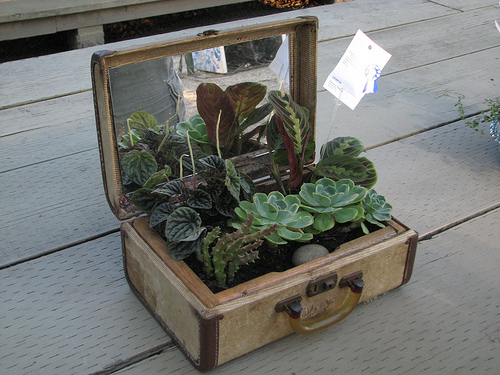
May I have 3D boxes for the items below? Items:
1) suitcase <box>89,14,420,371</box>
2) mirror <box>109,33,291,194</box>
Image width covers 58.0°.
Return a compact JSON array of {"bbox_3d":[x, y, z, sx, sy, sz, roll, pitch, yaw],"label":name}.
[{"bbox_3d":[-0.002,-0.015,0.844,0.564,0.490,0.504,-16,39,-16],"label":"suitcase"},{"bbox_3d":[-0.092,-0.162,0.919,0.440,0.251,0.105,-23,45,-27],"label":"mirror"}]
